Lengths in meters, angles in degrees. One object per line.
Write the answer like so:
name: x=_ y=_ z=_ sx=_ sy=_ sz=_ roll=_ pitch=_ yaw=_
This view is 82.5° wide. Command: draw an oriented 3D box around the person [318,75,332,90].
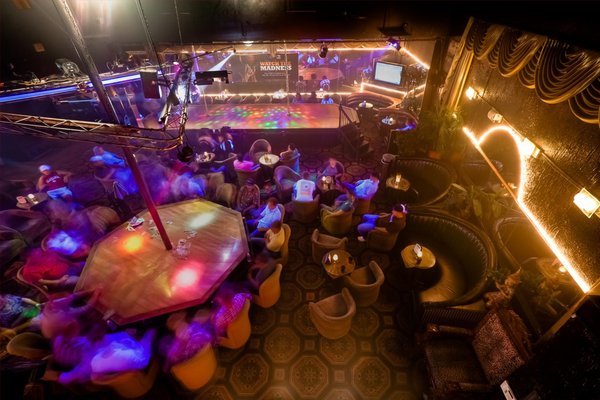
person: x=1.432 y=-6.598 z=19.312 sx=0.844 sy=1.013 sz=0.548 roll=5 pitch=63 yaw=7

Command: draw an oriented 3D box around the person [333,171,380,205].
person: x=1.775 y=-0.340 z=10.142 sx=1.105 sy=0.767 sz=0.730 roll=11 pitch=42 yaw=-8

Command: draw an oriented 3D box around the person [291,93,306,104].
person: x=-0.077 y=-5.015 z=16.956 sx=0.691 sy=0.323 sz=0.866 roll=-1 pitch=40 yaw=1

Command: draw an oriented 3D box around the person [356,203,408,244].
person: x=2.162 y=0.593 z=9.261 sx=1.040 sy=1.703 sz=0.790 roll=12 pitch=51 yaw=0

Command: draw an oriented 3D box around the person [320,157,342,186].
person: x=1.053 y=-0.982 z=10.858 sx=0.666 sy=0.821 sz=0.841 roll=-1 pitch=45 yaw=3

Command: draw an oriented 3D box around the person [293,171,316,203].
person: x=0.194 y=-0.356 z=10.257 sx=0.635 sy=0.841 sz=0.514 roll=5 pitch=38 yaw=-8

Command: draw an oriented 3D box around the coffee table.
coffee table: x=5.431 y=1.801 z=7.282 sx=0.793 sy=0.521 sz=1.245 roll=23 pitch=45 yaw=18

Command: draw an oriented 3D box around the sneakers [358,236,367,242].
sneakers: x=1.760 y=1.104 z=9.654 sx=0.221 sy=0.091 sz=0.117 roll=7 pitch=77 yaw=-3
